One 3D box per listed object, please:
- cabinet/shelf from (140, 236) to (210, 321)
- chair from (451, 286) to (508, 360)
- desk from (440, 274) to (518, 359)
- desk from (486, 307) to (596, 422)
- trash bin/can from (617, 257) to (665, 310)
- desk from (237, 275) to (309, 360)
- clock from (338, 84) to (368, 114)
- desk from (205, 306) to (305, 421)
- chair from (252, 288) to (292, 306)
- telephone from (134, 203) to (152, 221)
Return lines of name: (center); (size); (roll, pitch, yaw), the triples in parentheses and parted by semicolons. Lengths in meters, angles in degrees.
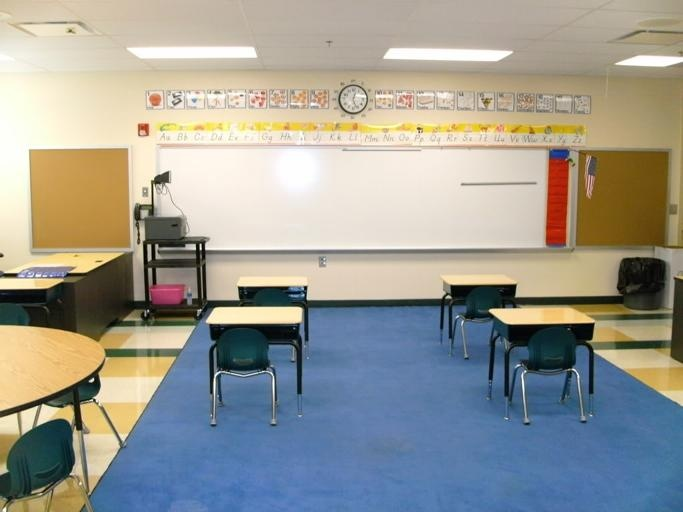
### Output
cabinet/shelf: (-2.343, 0.260, 7.870); (0.868, 1.016, 0.733); (1, 8, -4)
chair: (1.578, 0.716, 6.351); (0.509, 0.835, 0.586); (-1, 6, 6)
desk: (1.592, 0.708, 6.456); (0.905, 0.845, 0.721); (-1, 4, -10)
desk: (1.938, 1.054, 5.450); (0.963, 0.882, 0.790); (0, 1, 8)
trash bin/can: (4.552, 0.405, 8.433); (0.618, 0.727, 0.641); (-4, 4, 28)
desk: (-0.751, 0.798, 6.375); (1.109, 1.059, 0.830); (0, 3, 0)
clock: (0.162, -2.275, 7.897); (0.346, 0.353, 0.048); (-10, 3, -1)
desk: (-0.806, 1.005, 5.318); (0.909, 0.864, 0.706); (0, 1, -2)
chair: (-0.749, 0.431, 5.983); (0.386, 0.183, 0.146); (-1, 8, 5)
telephone: (-2.782, -0.617, 7.903); (0.304, 0.277, 0.228); (0, 2, -9)
